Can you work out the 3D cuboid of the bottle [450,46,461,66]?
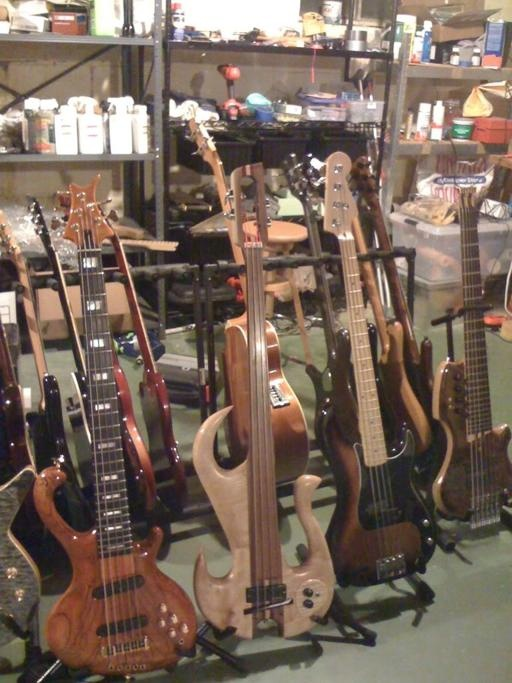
[{"bbox_3d":[1.290,-1.857,3.932,0.053,0.123,0.103,5,15,38],"label":"bottle"}]

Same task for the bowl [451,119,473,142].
[{"bbox_3d":[1.376,-1.421,4.043,0.140,0.131,0.087,-4,12,0],"label":"bowl"}]

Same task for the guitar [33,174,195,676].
[{"bbox_3d":[-0.342,0.192,1.327,0.299,1.073,0.352,-7,12,-11],"label":"guitar"}]

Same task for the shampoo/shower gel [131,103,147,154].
[{"bbox_3d":[-0.572,-1.029,2.944,0.073,0.222,0.068,-9,13,-20],"label":"shampoo/shower gel"}]

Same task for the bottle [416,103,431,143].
[{"bbox_3d":[1.116,-1.450,4.009,0.121,0.230,0.114,-4,12,1],"label":"bottle"}]

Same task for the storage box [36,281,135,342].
[{"bbox_3d":[-0.914,-0.167,3.187,0.472,0.429,0.307,-7,10,-27],"label":"storage box"}]

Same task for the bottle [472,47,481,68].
[{"bbox_3d":[1.451,-1.867,3.964,0.066,0.115,0.029,-2,21,-5],"label":"bottle"}]

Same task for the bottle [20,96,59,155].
[{"bbox_3d":[-0.989,-0.980,2.752,0.164,0.240,0.066,-8,12,-15],"label":"bottle"}]

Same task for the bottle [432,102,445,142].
[{"bbox_3d":[1.242,-1.482,4.094,0.078,0.248,0.270,2,13,30],"label":"bottle"}]

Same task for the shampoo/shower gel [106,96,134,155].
[{"bbox_3d":[-0.656,-1.034,2.911,0.135,0.264,0.114,-7,12,-12],"label":"shampoo/shower gel"}]

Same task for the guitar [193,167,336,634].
[{"bbox_3d":[0.022,0.142,1.361,0.267,1.058,0.383,0,13,19],"label":"guitar"}]

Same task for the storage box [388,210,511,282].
[{"bbox_3d":[1.205,-0.576,4.022,0.757,0.435,0.722,-6,22,-19],"label":"storage box"}]
